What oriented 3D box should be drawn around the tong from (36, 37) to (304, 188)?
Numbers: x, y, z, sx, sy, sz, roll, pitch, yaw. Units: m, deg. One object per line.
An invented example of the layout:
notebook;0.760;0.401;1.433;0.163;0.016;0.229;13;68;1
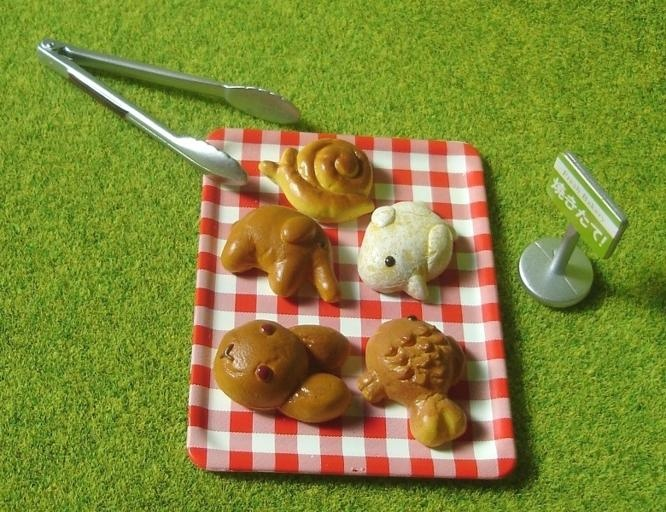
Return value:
tong;-0.422;-0.370;1.669;0.662;0.140;0.262;24;77;4
